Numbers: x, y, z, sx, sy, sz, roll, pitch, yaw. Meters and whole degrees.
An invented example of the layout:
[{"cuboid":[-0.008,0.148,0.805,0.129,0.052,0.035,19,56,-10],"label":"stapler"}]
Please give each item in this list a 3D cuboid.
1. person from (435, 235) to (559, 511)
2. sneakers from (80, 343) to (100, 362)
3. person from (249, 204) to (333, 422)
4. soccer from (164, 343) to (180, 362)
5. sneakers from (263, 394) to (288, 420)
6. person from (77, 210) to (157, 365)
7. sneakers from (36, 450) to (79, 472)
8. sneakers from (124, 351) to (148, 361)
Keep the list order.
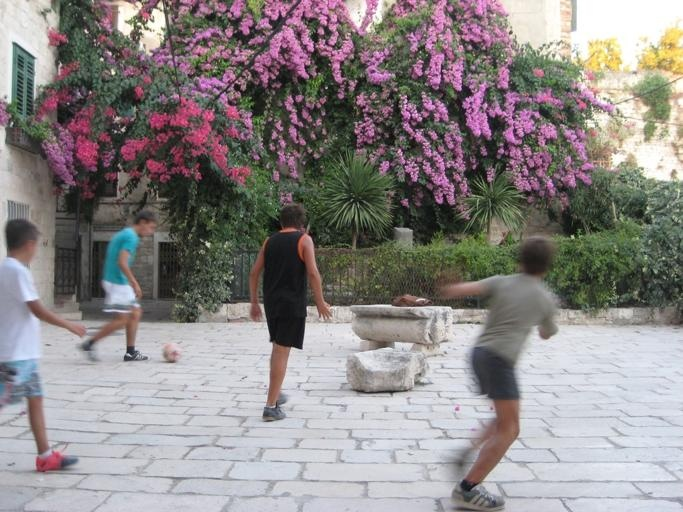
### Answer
[{"cuboid":[1.385,0.996,6.337,1.011,2.329,0.704,-5,9,-41],"label":"person"},{"cuboid":[-3.676,1.396,10.492,0.218,0.376,0.110,-13,18,31],"label":"sneakers"},{"cuboid":[-0.619,0.609,8.051,0.714,2.400,0.903,-4,8,-40],"label":"person"},{"cuboid":[-2.543,1.452,10.663,0.232,0.249,0.180,-1,6,-15],"label":"soccer"},{"cuboid":[-0.731,1.733,8.038,0.135,0.169,0.353,2,0,17],"label":"sneakers"},{"cuboid":[-3.265,0.459,10.467,1.054,2.255,0.812,-1,7,-19],"label":"person"},{"cuboid":[-2.646,1.913,6.682,0.423,0.183,0.158,0,1,-22],"label":"sneakers"},{"cuboid":[-3.045,1.495,10.635,0.380,0.163,0.139,1,0,-13],"label":"sneakers"}]
